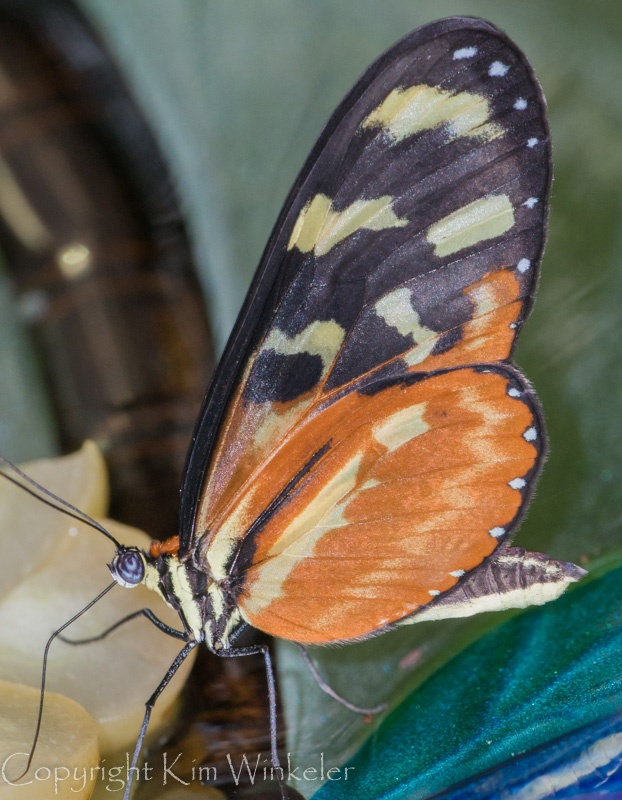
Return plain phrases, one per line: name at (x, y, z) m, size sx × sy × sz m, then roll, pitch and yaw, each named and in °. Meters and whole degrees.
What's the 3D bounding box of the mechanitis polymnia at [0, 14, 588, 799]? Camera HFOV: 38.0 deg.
mechanitis polymnia at (0.044, -0.013, 0.489) m, size 0.362 × 0.318 × 0.270 m, roll -5°, pitch 5°, yaw -15°
